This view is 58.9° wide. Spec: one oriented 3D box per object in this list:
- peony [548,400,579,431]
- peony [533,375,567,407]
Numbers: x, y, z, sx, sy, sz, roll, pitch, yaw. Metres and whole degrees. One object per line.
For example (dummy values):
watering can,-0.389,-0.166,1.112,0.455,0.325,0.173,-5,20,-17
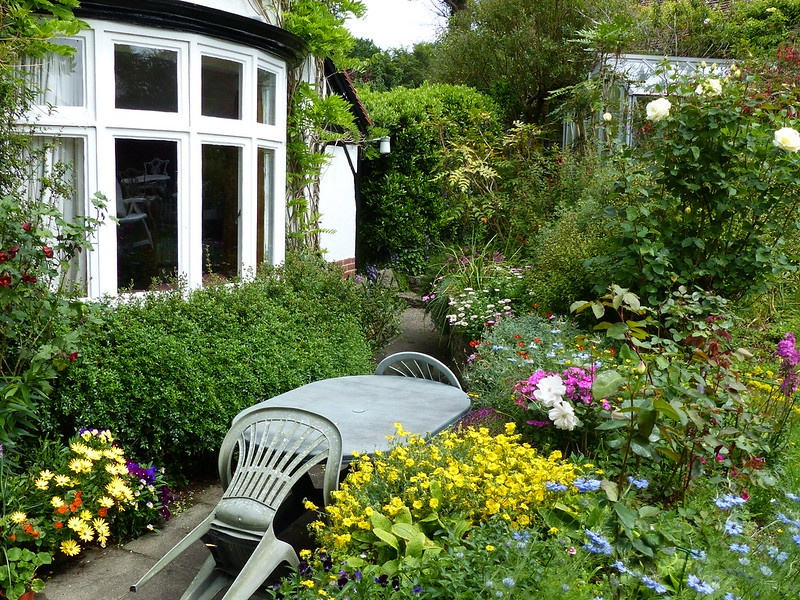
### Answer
peony,0.828,0.588,3.606,0.157,0.177,0.076,-3,8,31
peony,0.782,0.477,3.689,0.149,0.193,0.197,-2,8,13
